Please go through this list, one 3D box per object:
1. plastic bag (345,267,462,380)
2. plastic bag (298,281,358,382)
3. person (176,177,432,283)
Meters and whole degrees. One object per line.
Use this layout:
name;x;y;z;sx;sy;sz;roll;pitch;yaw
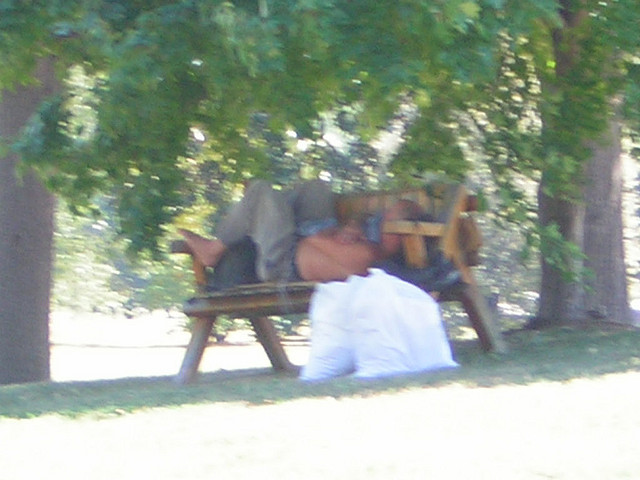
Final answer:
plastic bag;0.579;0.620;9.067;0.827;0.623;0.377;-1;-15;-35
plastic bag;0.064;0.674;8.972;0.406;0.730;0.153;2;-7;-2
person;-0.106;-0.073;9.730;1.828;0.855;0.301;1;-7;3
